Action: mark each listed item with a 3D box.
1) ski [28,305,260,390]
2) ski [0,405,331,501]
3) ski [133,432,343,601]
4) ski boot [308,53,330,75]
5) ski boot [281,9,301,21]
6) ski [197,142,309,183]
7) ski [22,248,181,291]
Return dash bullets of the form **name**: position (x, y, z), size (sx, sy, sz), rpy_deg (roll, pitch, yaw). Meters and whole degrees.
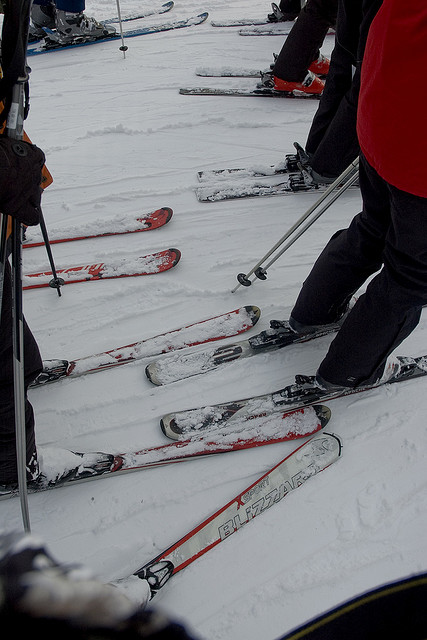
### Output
- **ski**: position (-0.341, 0.146, 2.512), size (0.953, 0.070, 0.102), rpy_deg (-18, 52, -15)
- **ski**: position (-0.170, 0.536, 2.037), size (1.392, 0.067, 0.152), rpy_deg (-13, 52, -10)
- **ski**: position (0.087, 0.734, 1.890), size (0.774, 0.060, 0.110), rpy_deg (-30, 69, -26)
- **ski boot**: position (1.024, -2.474, 5.017), size (0.168, 0.171, 0.331), rpy_deg (18, 32, 5)
- **ski boot**: position (0.899, -3.662, 6.198), size (0.211, 0.138, 0.149), rpy_deg (13, 32, -2)
- **ski**: position (0.289, -1.161, 3.860), size (0.854, 0.292, 0.240), rpy_deg (-8, 61, 0)
- **ski**: position (-0.653, -0.282, 2.963), size (1.013, 0.078, 0.141), rpy_deg (-10, 55, -5)
